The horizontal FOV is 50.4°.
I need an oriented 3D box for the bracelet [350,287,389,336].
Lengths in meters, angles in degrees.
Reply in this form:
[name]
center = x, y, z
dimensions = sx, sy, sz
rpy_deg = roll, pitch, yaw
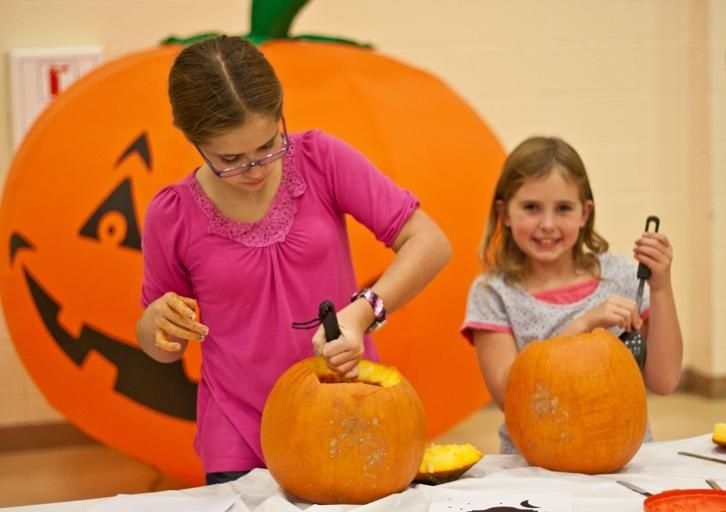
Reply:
[bracelet]
center = 0.025, 0.136, 1.935
dimensions = 0.046, 0.094, 0.099
rpy_deg = -28, 16, -14

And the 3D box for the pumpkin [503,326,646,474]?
[pumpkin]
center = 0.495, 0.357, 1.981
dimensions = 0.309, 0.361, 0.317
rpy_deg = -3, -4, -4

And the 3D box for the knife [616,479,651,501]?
[knife]
center = 0.619, 0.532, 1.774
dimensions = 0.023, 0.004, 0.085
rpy_deg = -24, 27, -21
